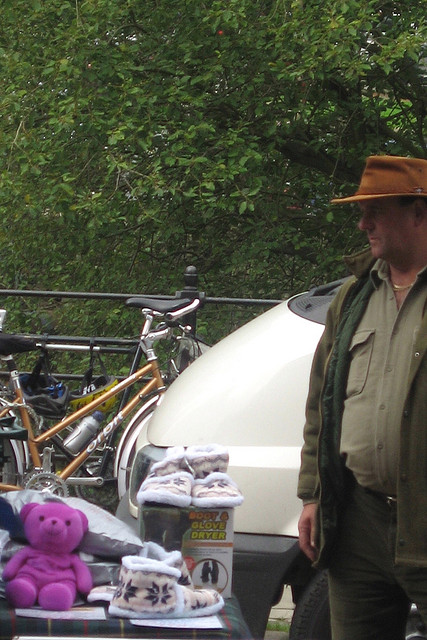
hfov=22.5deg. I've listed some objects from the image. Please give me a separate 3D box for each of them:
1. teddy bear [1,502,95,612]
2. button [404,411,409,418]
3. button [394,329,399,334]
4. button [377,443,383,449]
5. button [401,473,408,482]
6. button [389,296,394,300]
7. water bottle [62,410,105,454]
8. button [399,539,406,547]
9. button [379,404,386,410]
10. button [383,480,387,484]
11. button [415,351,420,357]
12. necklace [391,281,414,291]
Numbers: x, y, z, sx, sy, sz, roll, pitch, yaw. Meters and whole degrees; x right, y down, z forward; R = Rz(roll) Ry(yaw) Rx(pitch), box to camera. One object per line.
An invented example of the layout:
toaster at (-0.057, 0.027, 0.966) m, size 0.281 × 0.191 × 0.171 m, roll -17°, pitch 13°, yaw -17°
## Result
teddy bear at (-0.530, 0.768, 3.487) m, size 0.292 × 0.285 × 0.287 m, roll 1°, pitch 8°, yaw -6°
button at (0.612, 0.305, 3.447) m, size 0.014 × 0.021 × 0.004 m, roll 3°, pitch 9°, yaw 7°
button at (0.600, 0.040, 3.561) m, size 0.016 × 0.015 × 0.007 m, roll 4°, pitch 9°, yaw 13°
button at (0.539, 0.414, 3.513) m, size 0.019 × 0.019 × 0.005 m, roll 8°, pitch 11°, yaw 40°
button at (0.606, 0.508, 3.443) m, size 0.030 × 0.025 × 0.027 m, roll 1°, pitch 9°, yaw 24°
button at (0.594, -0.074, 3.637) m, size 0.012 × 0.003 × 0.010 m, roll -17°, pitch 4°, yaw -18°
water bottle at (-0.750, 0.654, 6.331) m, size 0.126 × 0.268 × 0.119 m, roll 36°, pitch -11°, yaw 8°
button at (0.601, 0.719, 3.450) m, size 0.025 × 0.013 × 0.021 m, roll 1°, pitch -12°, yaw 6°
button at (0.550, 0.287, 3.528) m, size 0.024 × 0.017 × 0.005 m, roll -1°, pitch 1°, yaw 18°
button at (0.555, 0.531, 3.505) m, size 0.010 × 0.014 × 0.001 m, roll 5°, pitch 10°, yaw 20°
button at (0.647, 0.113, 3.453) m, size 0.016 × 0.014 × 0.009 m, roll 5°, pitch 9°, yaw 19°
necklace at (0.628, -0.113, 3.641) m, size 0.021 × 0.028 × 0.072 m, roll -4°, pitch 9°, yaw -39°
